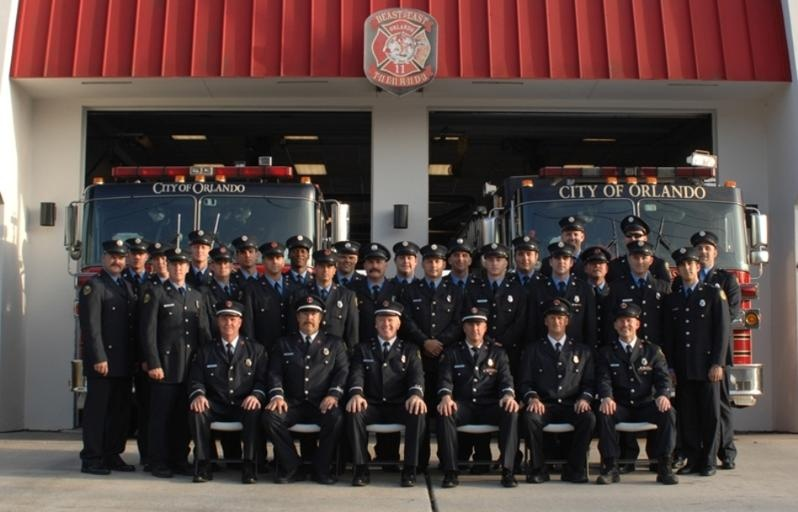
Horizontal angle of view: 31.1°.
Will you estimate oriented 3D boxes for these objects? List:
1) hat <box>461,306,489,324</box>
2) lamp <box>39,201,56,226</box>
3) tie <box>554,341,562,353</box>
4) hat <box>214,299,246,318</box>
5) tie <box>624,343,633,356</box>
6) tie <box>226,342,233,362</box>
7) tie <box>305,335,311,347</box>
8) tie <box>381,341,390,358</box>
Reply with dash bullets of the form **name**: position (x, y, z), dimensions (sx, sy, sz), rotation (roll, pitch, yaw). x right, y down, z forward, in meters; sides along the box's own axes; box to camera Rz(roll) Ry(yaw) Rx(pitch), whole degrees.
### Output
- **hat**: position (1.067, 0.775, 19.809), dimensions (0.320, 0.230, 0.406), rotation (-1, -5, 16)
- **lamp**: position (-5.592, -0.696, 22.944), dimensions (0.230, 0.361, 0.573), rotation (2, -5, -13)
- **tie**: position (2.185, 1.214, 19.713), dimensions (0.096, 0.116, 0.032), rotation (-4, -31, 9)
- **hat**: position (-2.299, 0.693, 19.773), dimensions (0.395, 0.255, 0.346), rotation (1, -5, -11)
- **tie**: position (3.174, 1.261, 19.779), dimensions (0.126, 0.153, 0.042), rotation (-3, -15, 18)
- **tie**: position (-2.307, 1.282, 19.689), dimensions (0.072, 0.262, 0.076), rotation (1, -14, -7)
- **tie**: position (-1.230, 1.119, 19.731), dimensions (0.097, 0.108, 0.030), rotation (4, -6, 0)
- **tie**: position (-0.179, 1.244, 19.676), dimensions (0.123, 0.186, 0.055), rotation (1, -4, 5)
